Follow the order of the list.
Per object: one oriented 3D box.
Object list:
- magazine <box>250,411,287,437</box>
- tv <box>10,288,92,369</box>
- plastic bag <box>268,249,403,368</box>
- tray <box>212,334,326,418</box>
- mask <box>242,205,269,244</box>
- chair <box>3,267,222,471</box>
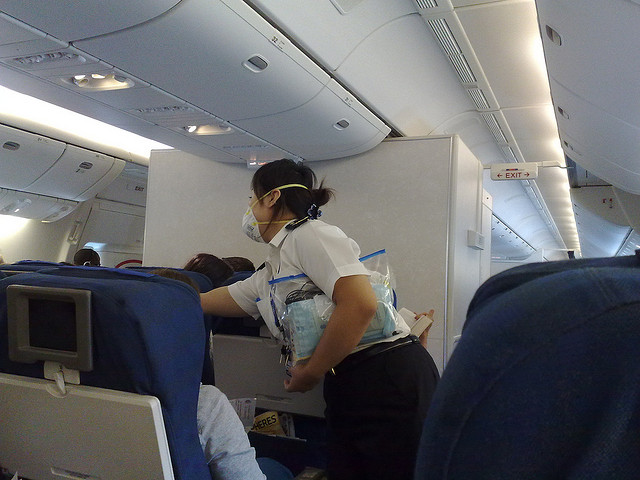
[{"bbox_3d":[-0.272,0.970,2.206,0.133,0.084,0.155,-7,-13,-43],"label":"magazine"},{"bbox_3d":[-0.766,0.249,1.181,0.233,0.193,0.024,2,3,22],"label":"tv"},{"bbox_3d":[0.125,0.373,1.941,0.521,0.218,0.656,-16,-7,13],"label":"plastic bag"},{"bbox_3d":[-0.289,0.760,2.356,0.644,0.424,0.352,3,-17,-8],"label":"tray"},{"bbox_3d":[-0.353,-0.074,2.166,0.162,0.124,0.148,12,34,-2],"label":"mask"},{"bbox_3d":[-0.626,0.351,1.393,0.627,0.606,0.594,1,-5,26],"label":"chair"}]
